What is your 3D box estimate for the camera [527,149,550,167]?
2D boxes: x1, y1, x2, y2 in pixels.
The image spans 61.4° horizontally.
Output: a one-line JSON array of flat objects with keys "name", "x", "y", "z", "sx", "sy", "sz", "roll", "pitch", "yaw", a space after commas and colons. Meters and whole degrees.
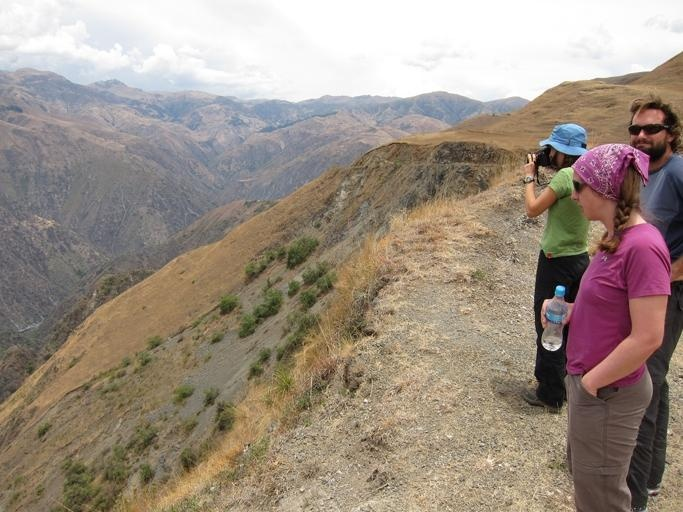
[{"name": "camera", "x": 3.973, "y": -1.979, "z": 11.615, "sx": 0.386, "sy": 0.388, "sz": 0.385, "roll": 7, "pitch": -16, "yaw": 33}]

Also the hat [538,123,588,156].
[{"name": "hat", "x": 4.395, "y": -2.203, "z": 11.499, "sx": 0.783, "sy": 0.412, "sz": 0.809, "roll": 29, "pitch": 37, "yaw": 27}]

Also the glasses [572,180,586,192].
[{"name": "glasses", "x": 4.075, "y": -1.226, "z": 9.932, "sx": 0.199, "sy": 0.156, "sz": 0.171, "roll": -35, "pitch": 27, "yaw": -28}]
